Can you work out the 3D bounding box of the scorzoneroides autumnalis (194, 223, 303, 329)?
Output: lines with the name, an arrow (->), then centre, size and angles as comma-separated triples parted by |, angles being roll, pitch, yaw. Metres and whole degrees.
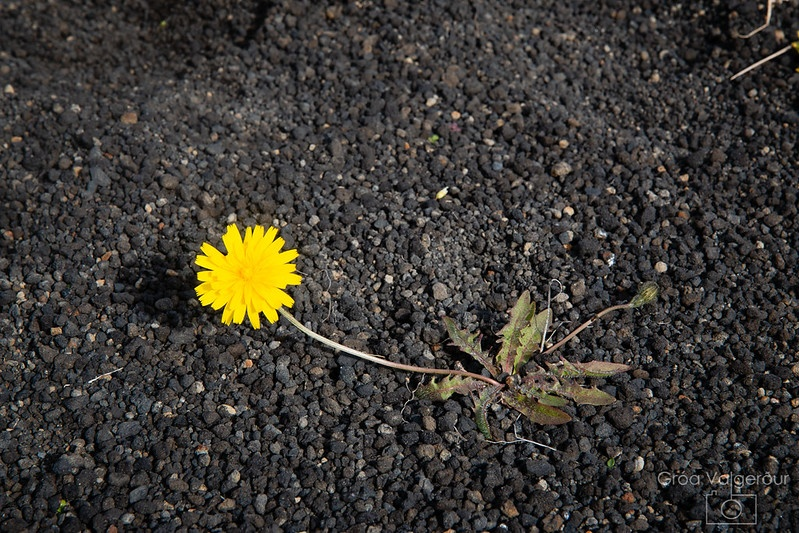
scorzoneroides autumnalis -> -0.852, 0.060, 3.945 | 0.563, 0.210, 0.561 | 3, 78, -9
